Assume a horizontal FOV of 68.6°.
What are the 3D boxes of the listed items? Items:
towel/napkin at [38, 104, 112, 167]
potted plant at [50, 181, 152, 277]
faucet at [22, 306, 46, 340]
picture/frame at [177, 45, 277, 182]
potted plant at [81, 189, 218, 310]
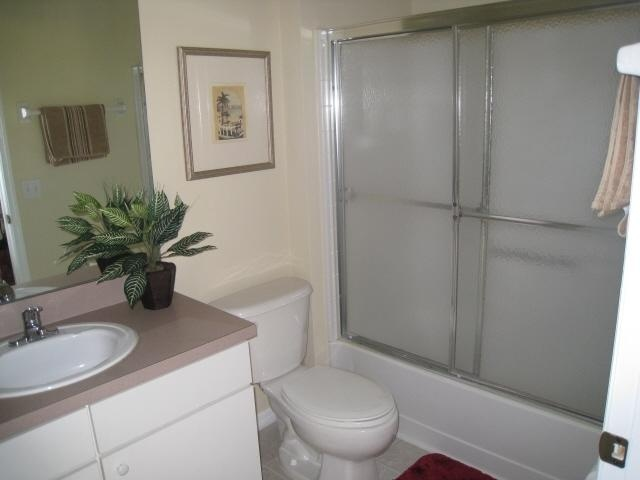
[{"bbox_3d":[-1.032,-0.445,1.936,0.077,0.253,0.248,7,19,36],"label":"towel/napkin"},{"bbox_3d":[-0.936,-0.081,2.026,0.411,0.196,0.416,-16,-17,24],"label":"potted plant"},{"bbox_3d":[-1.098,0.297,1.780,0.074,0.095,0.072,-11,21,-42],"label":"faucet"},{"bbox_3d":[-0.493,-0.659,2.348,0.044,0.729,0.597,15,21,41],"label":"picture/frame"},{"bbox_3d":[-0.746,0.040,2.086,0.538,0.520,0.540,8,21,9],"label":"potted plant"}]
